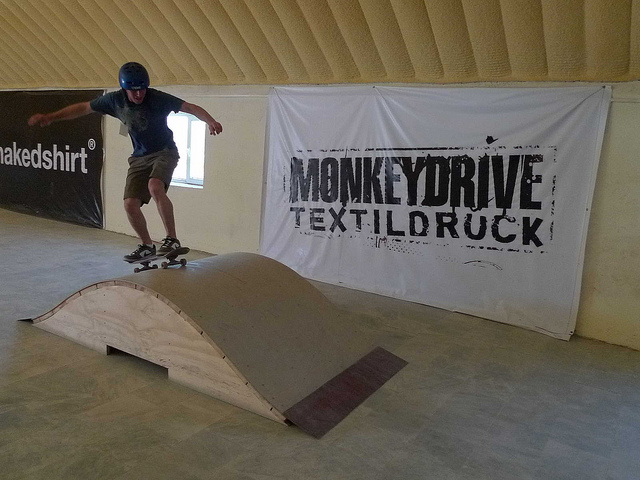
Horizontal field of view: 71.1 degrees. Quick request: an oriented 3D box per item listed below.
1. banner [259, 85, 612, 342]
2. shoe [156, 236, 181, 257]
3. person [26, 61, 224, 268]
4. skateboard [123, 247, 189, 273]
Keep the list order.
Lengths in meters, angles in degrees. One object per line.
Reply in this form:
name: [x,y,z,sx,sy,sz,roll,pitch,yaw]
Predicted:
banner: [1.035,-0.440,5.036,3.777,2.402,0.051,4,13,18]
shoe: [-1.330,0.053,3.804,0.103,0.135,0.311,0,8,20]
person: [-1.561,-0.655,4.080,1.280,1.750,0.657,13,16,36]
skateboard: [-1.537,0.187,4.167,0.636,0.123,0.213,-6,24,15]
